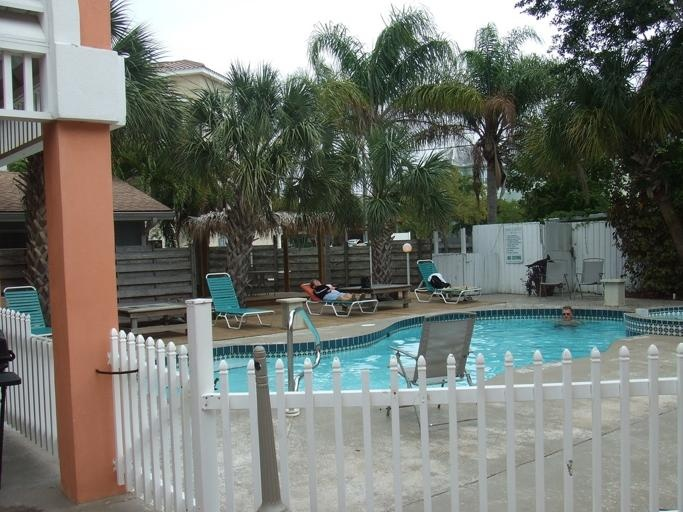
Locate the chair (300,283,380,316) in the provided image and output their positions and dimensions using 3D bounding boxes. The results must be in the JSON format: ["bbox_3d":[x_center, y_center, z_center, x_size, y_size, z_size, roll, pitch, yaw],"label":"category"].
[{"bbox_3d":[-0.147,0.982,15.492,1.400,0.773,0.848,0,0,32],"label":"chair"}]

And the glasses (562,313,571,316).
[{"bbox_3d":[4.727,1.226,14.441,0.132,0.084,0.090,-4,-2,13],"label":"glasses"}]

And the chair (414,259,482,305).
[{"bbox_3d":[2.644,0.701,18.078,1.731,1.325,0.992,3,2,38],"label":"chair"}]

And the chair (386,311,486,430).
[{"bbox_3d":[1.106,1.293,8.232,0.906,1.488,1.015,0,3,-22],"label":"chair"}]

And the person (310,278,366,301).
[{"bbox_3d":[-0.220,0.813,15.328,1.192,0.566,0.470,-5,-5,31],"label":"person"}]

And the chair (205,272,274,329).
[{"bbox_3d":[-2.114,0.854,14.011,1.659,1.316,0.925,0,1,43],"label":"chair"}]
